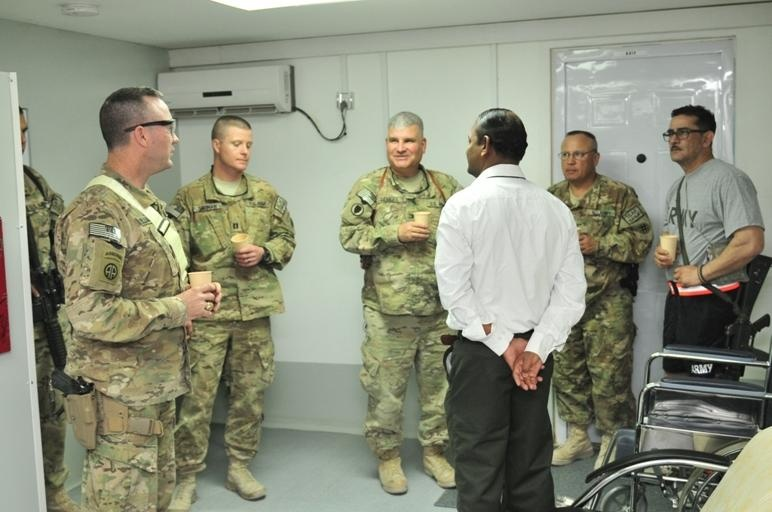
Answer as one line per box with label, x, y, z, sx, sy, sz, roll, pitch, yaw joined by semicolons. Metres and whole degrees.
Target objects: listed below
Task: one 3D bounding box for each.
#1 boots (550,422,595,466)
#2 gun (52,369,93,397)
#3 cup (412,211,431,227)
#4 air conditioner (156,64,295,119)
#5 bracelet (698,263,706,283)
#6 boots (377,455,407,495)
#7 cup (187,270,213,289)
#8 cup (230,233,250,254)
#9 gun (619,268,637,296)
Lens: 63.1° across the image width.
boots;1.436;1.471;4.988;0.450;0.283;0.155;-7;5;-19
gun;-1.609;0.654;3.238;0.156;0.150;0.062;-22;4;13
cup;0.246;-0.250;4.282;0.099;0.074;0.101;1;-4;0
air conditioner;-1.421;-1.432;5.620;1.198;0.387;0.337;1;9;17
bracelet;2.125;0.127;4.232;0.042;0.102;0.086;4;-3;13
boots;0.049;1.592;4.598;0.213;0.185;0.263;-4;11;-4
cup;-1.041;0.126;3.536;0.108;0.083;0.118;0;3;0
cup;-0.997;-0.083;4.294;0.097;0.127;0.113;-5;12;-7
gun;1.877;0.197;4.817;0.209;0.184;0.052;14;-2;-27
